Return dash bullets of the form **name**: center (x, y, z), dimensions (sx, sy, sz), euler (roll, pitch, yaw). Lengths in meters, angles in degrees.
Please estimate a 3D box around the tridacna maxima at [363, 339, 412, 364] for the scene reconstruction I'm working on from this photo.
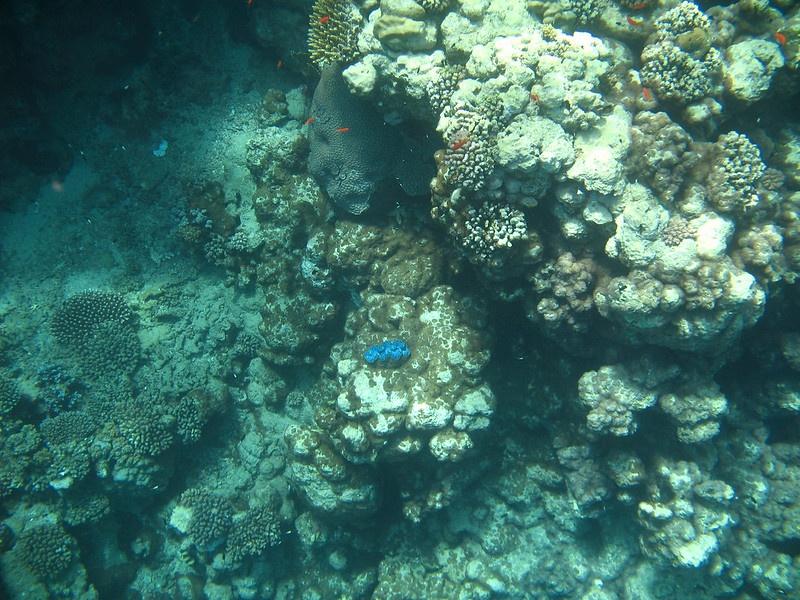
- **tridacna maxima**: center (-0.224, 0.919, 15.677), dimensions (0.588, 0.209, 0.434), euler (-5, 43, 11)
